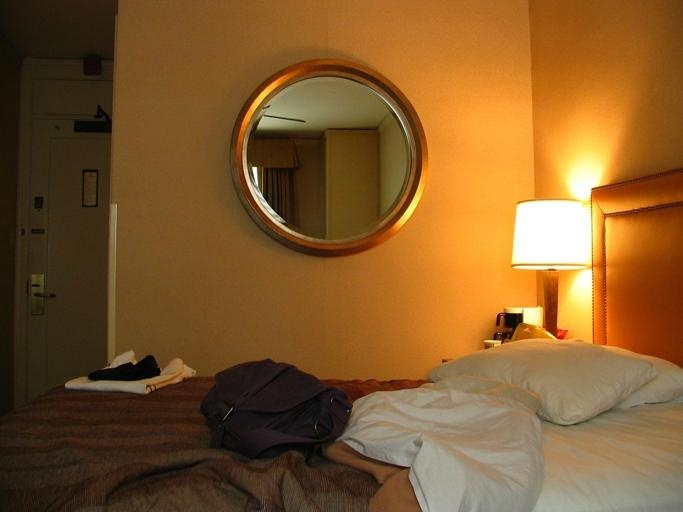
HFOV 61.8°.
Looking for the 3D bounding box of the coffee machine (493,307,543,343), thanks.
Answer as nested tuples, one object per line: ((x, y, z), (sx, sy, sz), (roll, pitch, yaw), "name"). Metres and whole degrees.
((1.065, 0.404, 3.503), (0.280, 0.296, 0.186), (1, -1, 34), "coffee machine")

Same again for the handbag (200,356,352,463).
((-0.236, 0.578, 2.131), (0.353, 0.139, 0.351), (1, 8, -31), "handbag")
